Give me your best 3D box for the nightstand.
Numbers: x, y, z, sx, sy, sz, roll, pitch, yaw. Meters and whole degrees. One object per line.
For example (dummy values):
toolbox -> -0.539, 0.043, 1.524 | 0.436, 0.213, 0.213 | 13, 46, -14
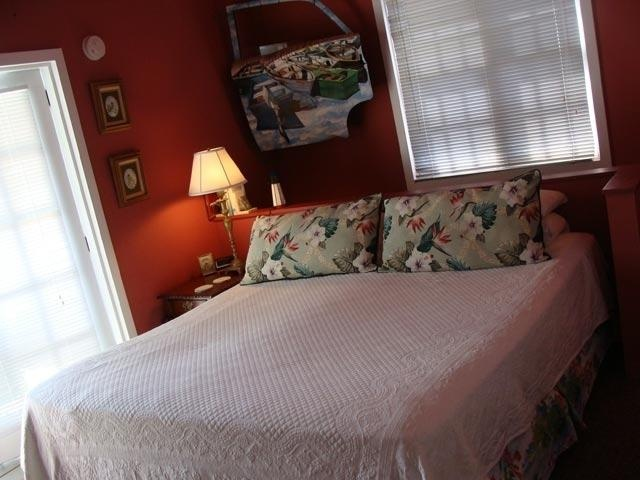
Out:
nightstand -> -0.825, 0.342, 3.291 | 0.352, 0.318, 0.460 | 0, 11, 15
